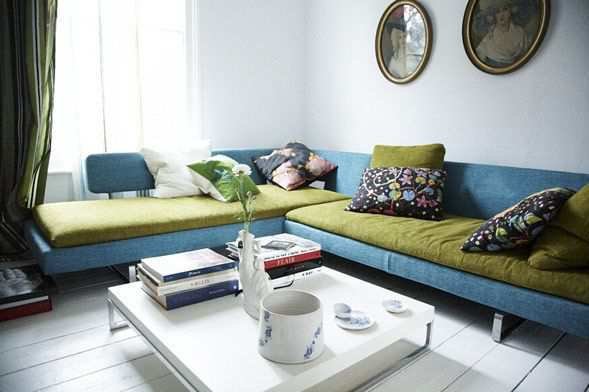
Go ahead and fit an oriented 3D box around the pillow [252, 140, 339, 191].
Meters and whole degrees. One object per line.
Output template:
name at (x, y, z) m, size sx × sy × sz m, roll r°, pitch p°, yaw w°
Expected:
pillow at (-0.001, -0.309, 4.085) m, size 0.596 × 0.187 × 0.587 m, roll -24°, pitch 36°, yaw -37°
